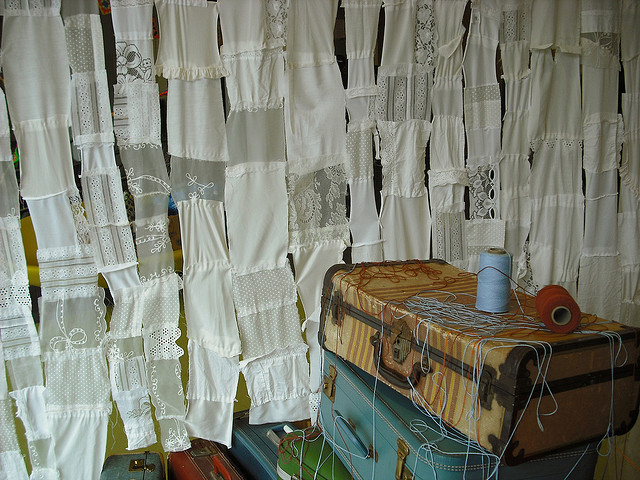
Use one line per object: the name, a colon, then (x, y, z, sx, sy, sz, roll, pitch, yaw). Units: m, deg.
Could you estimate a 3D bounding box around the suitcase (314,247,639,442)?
suitcase: (0.516, 0.324, 2.110, 0.523, 0.600, 1.055, -14, 14, -41)
